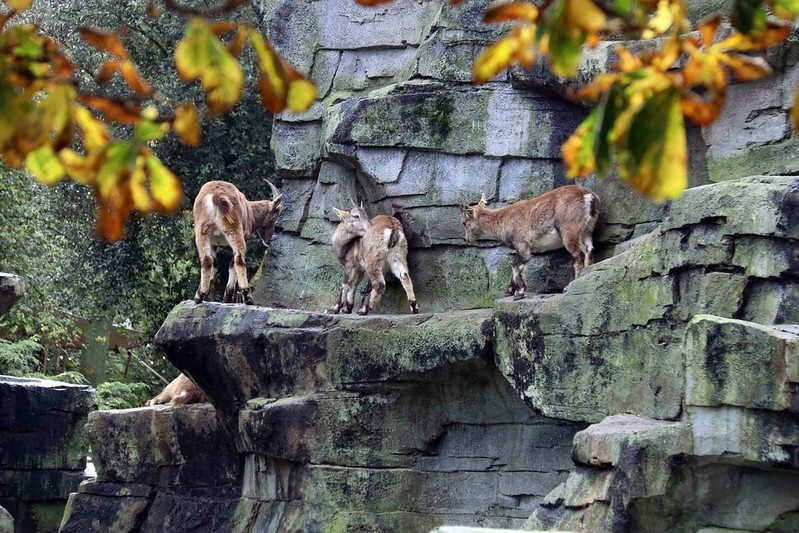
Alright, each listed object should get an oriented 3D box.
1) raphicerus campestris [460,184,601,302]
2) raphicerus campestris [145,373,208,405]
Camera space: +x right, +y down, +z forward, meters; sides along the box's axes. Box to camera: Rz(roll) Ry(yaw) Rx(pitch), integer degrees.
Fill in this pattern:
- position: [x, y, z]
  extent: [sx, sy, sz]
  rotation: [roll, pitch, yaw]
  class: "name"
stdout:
- position: [1.877, -0.345, 19.447]
  extent: [1.809, 1.166, 0.709]
  rotation: [3, 2, 36]
  class: "raphicerus campestris"
- position: [-3.531, 1.961, 21.606]
  extent: [0.655, 0.566, 1.129]
  rotation: [1, 2, -41]
  class: "raphicerus campestris"
